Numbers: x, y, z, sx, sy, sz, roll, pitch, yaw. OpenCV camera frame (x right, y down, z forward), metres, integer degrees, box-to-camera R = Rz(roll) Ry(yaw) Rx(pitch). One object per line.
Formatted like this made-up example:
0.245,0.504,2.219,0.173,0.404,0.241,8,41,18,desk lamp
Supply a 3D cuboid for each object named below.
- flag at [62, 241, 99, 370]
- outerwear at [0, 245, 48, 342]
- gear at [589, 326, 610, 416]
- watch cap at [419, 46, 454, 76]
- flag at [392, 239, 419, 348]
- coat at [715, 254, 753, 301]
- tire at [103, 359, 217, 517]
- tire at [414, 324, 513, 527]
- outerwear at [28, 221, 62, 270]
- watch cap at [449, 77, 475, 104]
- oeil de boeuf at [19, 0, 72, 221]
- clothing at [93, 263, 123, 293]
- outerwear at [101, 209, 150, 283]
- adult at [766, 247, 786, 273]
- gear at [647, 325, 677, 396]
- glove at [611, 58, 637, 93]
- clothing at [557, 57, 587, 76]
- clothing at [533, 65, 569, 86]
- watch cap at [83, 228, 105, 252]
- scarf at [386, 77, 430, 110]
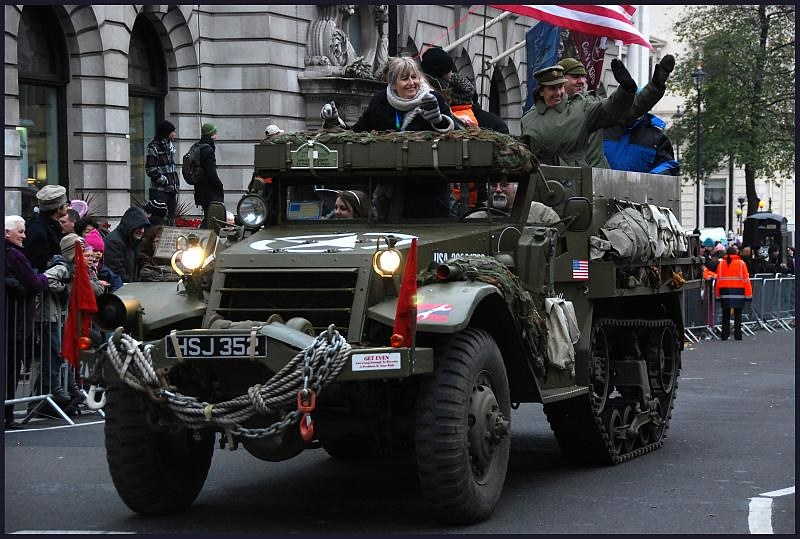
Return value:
-3.017,0.335,9.581,0.308,1.194,0.640,-1,2,-19,flag
-4.976,0.253,13.537,0.494,1.289,0.385,-1,2,-24,outerwear
2.239,1.150,11.527,0.152,1.133,0.926,-2,-3,24,gear
0.429,-2.452,12.115,0.334,0.229,0.335,-21,20,-29,watch cap
0.028,0.197,8.674,0.223,0.891,0.314,0,2,0,flag
8.409,0.224,25.848,0.948,1.319,0.573,-3,-18,20,coat
-2.174,1.473,9.182,0.381,1.186,1.252,-16,-12,14,tire
0.570,1.399,9.086,0.382,1.721,1.029,2,3,41,tire
-4.928,-0.320,14.073,0.296,0.596,0.602,-1,3,17,outerwear
0.734,-2.181,12.401,0.248,0.364,0.271,-3,13,-17,watch cap
-7.739,-3.706,22.273,0.625,3.954,1.787,0,2,6,oeil de boeuf
-4.185,0.119,14.532,0.237,0.323,0.129,-17,-9,-40,clothing
-4.257,-0.122,15.735,0.642,1.633,0.960,5,-11,-17,outerwear
12.711,-0.326,34.491,0.630,0.993,0.327,-8,-16,33,adult
3.292,1.149,12.910,0.158,0.923,0.865,-3,-1,26,gear
2.576,-2.207,11.755,0.277,0.403,0.357,0,2,12,glove
2.096,-2.519,12.644,0.246,0.152,0.348,7,-1,-39,clothing
1.704,-2.211,11.863,0.226,0.129,0.287,-8,4,-24,clothing
-4.471,-0.402,14.912,0.262,0.355,0.388,3,-14,-14,watch cap
0.089,-1.845,10.762,0.461,0.350,0.450,0,2,-2,scarf
